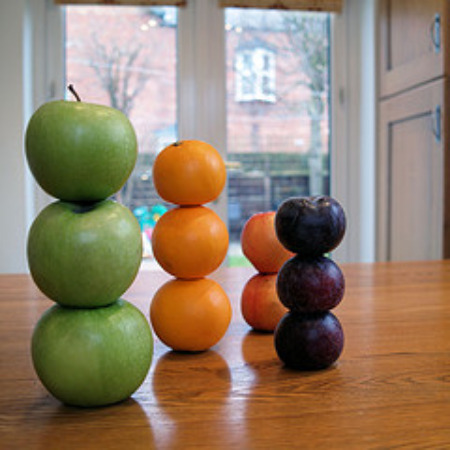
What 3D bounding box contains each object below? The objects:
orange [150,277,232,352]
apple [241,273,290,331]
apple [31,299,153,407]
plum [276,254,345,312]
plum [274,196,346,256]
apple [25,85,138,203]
[{"bbox_3d":[-0.036,0.089,0.513,0.066,0.071,0.069,1,-5,-5],"label":"orange"},{"bbox_3d":[0.044,0.083,0.582,0.051,0.074,0.055,0,0,22],"label":"apple"},{"bbox_3d":[-0.103,0.100,0.398,0.092,0.071,0.048,-2,4,-14],"label":"apple"},{"bbox_3d":[0.078,0.053,0.452,0.047,0.050,0.052,-2,-9,-2],"label":"plum"},{"bbox_3d":[0.075,0.002,0.452,0.062,0.053,0.032,0,4,13],"label":"plum"},{"bbox_3d":[-0.110,-0.055,0.407,0.073,0.082,0.079,2,2,-6],"label":"apple"}]
